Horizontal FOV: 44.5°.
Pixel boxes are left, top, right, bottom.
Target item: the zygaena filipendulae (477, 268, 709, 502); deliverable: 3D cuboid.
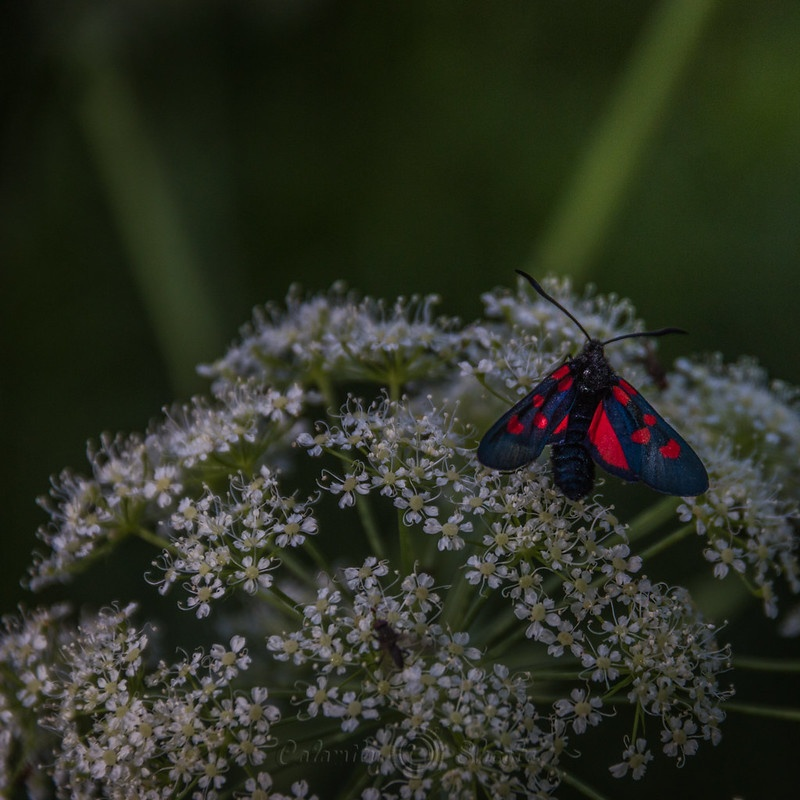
[{"bbox_3d":[0.234,-0.002,1.175,0.283,0.115,0.336,6,-52,16],"label":"zygaena filipendulae"}]
